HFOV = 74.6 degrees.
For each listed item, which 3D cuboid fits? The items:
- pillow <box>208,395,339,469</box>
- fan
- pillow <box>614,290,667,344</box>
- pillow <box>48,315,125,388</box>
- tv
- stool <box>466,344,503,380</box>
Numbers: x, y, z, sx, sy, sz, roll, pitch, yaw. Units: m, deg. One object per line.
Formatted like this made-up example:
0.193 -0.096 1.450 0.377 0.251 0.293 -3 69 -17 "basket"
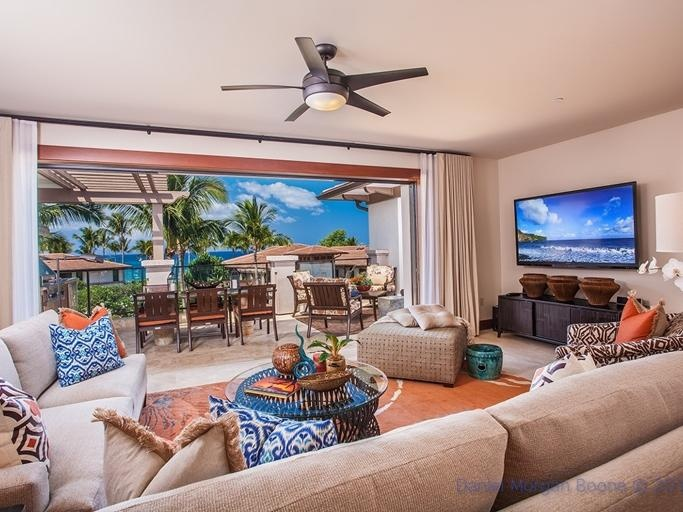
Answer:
-0.254 0.717 1.802 0.380 0.107 0.377 6 -7 -15 "pillow"
-0.025 -1.252 3.264 0.738 0.234 0.806 2 -7 -31 "fan"
2.272 0.459 3.391 0.184 0.334 0.331 25 -1 7 "pillow"
-1.828 0.687 3.180 0.195 0.371 0.446 -11 -5 36 "pillow"
2.749 -0.321 5.368 0.052 0.913 1.528 -5 3 -27 "tv"
1.370 1.008 4.279 0.298 0.222 0.327 -1 -1 36 "stool"
